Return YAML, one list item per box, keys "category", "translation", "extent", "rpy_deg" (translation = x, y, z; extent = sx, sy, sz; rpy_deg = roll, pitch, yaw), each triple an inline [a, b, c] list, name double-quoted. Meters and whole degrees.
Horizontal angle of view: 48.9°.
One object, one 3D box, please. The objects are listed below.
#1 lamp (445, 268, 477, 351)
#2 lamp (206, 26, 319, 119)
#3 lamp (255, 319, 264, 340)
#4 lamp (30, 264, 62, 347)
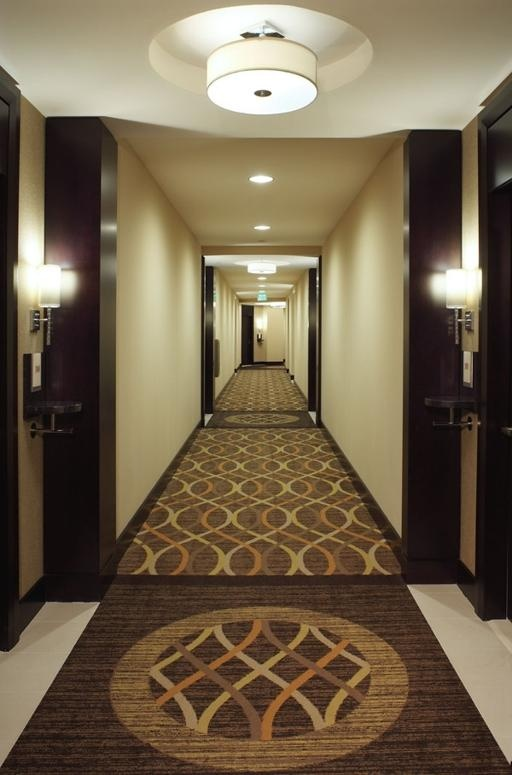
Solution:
- category: "lamp"
  translation: [1.091, -0.413, 2.985]
  extent: [0.149, 0.430, 0.352]
  rpy_deg: [1, 4, 15]
- category: "lamp"
  translation: [0.027, -1.395, 2.546]
  extent: [0.490, 0.183, 0.511]
  rpy_deg: [0, 4, -4]
- category: "lamp"
  translation: [0.171, -2.776, 26.211]
  extent: [0.415, 1.021, 0.355]
  rpy_deg: [0, 3, 7]
- category: "lamp"
  translation: [-1.069, -0.418, 2.870]
  extent: [0.117, 0.436, 0.120]
  rpy_deg: [2, 13, -21]
